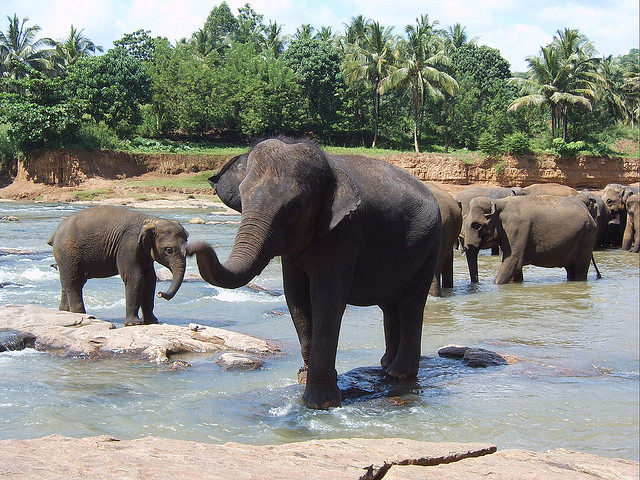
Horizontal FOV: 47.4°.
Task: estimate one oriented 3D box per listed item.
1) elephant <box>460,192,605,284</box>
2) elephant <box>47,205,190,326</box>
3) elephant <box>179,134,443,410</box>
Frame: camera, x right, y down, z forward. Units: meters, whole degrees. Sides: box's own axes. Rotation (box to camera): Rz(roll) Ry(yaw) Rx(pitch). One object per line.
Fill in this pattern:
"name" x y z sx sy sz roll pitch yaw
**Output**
"elephant" 4.033 0.089 13.515 2.983 1.777 1.267 -2 7 -18
"elephant" -2.509 0.372 9.567 2.502 1.422 0.697 3 -1 15
"elephant" -0.060 0.296 6.626 2.957 2.251 1.642 -3 9 -40
